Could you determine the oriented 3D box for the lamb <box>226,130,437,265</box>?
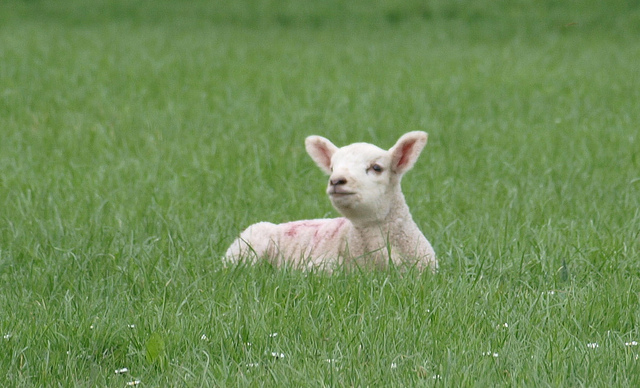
[{"bbox_3d":[0.394,-0.190,12.299,1.859,1.845,3.978,1,1,18],"label":"lamb"}]
